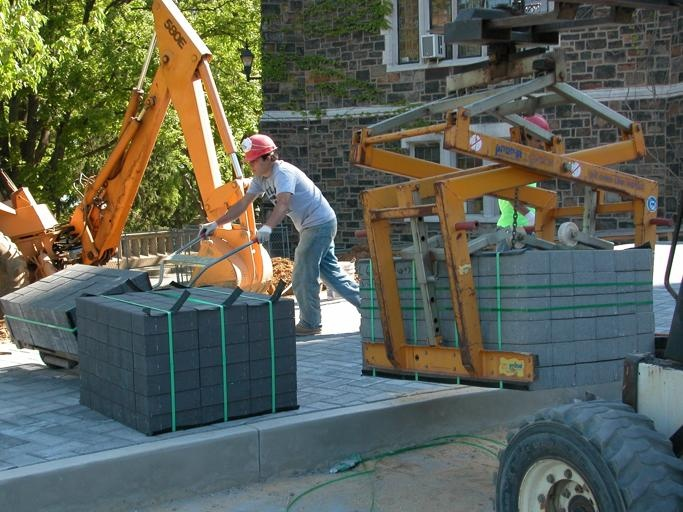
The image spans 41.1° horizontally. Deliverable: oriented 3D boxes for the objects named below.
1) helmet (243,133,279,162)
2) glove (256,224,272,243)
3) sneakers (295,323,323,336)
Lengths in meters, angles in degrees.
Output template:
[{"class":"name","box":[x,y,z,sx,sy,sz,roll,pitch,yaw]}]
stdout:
[{"class":"helmet","box":[-0.894,-1.149,9.655,0.346,0.290,0.363,-2,7,-6]},{"class":"glove","box":[-0.802,-0.223,9.021,0.103,0.185,0.144,-10,-7,40]},{"class":"sneakers","box":[-0.432,0.895,11.137,0.451,0.168,0.144,3,0,-20]}]
